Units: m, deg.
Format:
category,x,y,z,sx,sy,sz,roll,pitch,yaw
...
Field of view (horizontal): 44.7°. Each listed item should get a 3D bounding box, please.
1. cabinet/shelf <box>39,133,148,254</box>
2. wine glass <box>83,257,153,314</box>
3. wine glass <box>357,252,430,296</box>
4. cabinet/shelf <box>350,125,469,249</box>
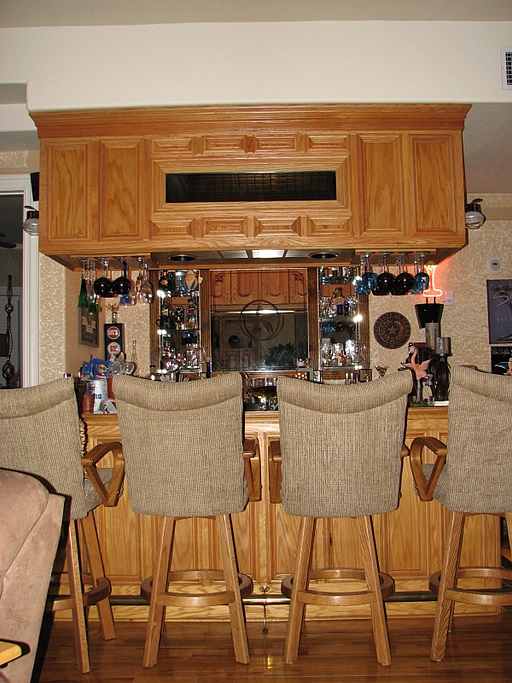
category,x,y,z,sx,sy,sz,roll,pitch,yaw
cabinet/shelf,-0.778,-0.768,3.306,0.625,0.588,0.363,1,2,19
wine glass,-0.791,-0.330,3.462,0.440,0.246,0.365,-1,-3,-3
wine glass,0.731,-0.363,3.462,0.340,0.227,0.264,2,-13,1
cabinet/shelf,0.748,-0.777,3.161,0.622,0.592,0.200,0,-8,3
